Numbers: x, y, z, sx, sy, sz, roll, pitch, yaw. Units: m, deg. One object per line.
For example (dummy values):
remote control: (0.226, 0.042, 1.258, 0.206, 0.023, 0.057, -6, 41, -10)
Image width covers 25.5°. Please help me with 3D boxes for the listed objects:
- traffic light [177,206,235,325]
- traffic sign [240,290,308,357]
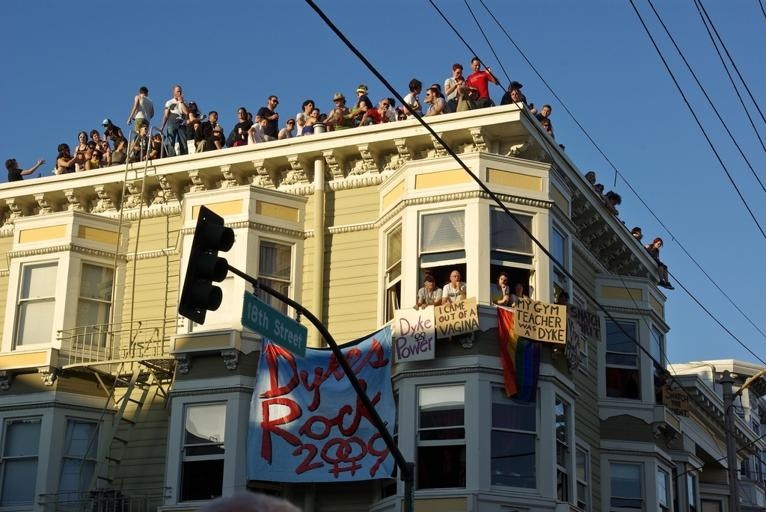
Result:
traffic light: (-4.293, 0.288, 41.825, 0.720, 2.580, 1.030, 10, -5, 22)
traffic sign: (-2.856, 1.747, 43.938, 2.093, 1.243, 0.387, 22, -32, -40)
